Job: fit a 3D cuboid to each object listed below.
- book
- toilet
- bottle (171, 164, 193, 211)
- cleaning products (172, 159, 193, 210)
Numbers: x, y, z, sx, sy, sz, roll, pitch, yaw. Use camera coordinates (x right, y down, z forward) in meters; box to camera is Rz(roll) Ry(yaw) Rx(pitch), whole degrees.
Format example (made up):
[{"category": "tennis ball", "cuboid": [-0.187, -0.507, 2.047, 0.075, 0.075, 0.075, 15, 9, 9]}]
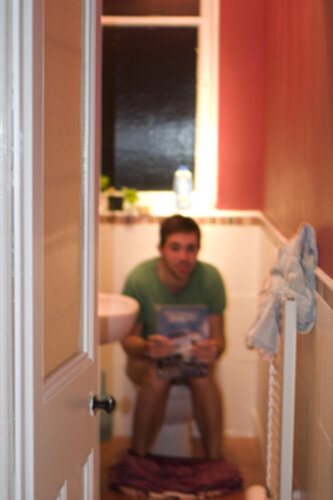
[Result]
[{"category": "book", "cuboid": [0.071, 0.448, 2.484, 0.270, 0.376, 0.024, 1, -35, 4]}, {"category": "toilet", "cuboid": [0.049, 0.861, 2.597, 0.203, 0.397, 0.341, 2, 4, 6]}, {"category": "bottle", "cuboid": [0.089, -0.351, 2.642, 0.116, 0.083, 0.243, -4, -34, 6]}, {"category": "cleaning products", "cuboid": [0.080, -0.318, 2.549, 0.101, 0.213, 0.073, 1, -1, -8]}]
